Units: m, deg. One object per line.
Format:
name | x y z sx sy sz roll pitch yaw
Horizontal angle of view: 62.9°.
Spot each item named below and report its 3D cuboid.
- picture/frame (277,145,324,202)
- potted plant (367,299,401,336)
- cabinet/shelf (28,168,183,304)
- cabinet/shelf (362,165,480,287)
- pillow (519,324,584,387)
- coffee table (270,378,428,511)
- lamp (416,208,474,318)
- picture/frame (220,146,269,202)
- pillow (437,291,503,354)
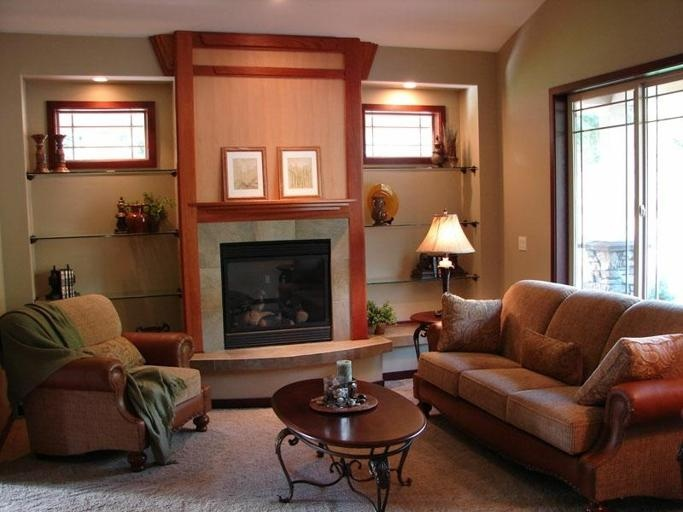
picture/frame | -0.397 -0.811 5.438 0.393 0.473 0.107 -3 9 -9
potted plant | 0.456 0.637 5.945 0.369 0.362 0.315 1 -2 -25
cabinet/shelf | -2.430 -0.220 5.609 1.314 1.278 0.401 -1 3 -13
cabinet/shelf | 0.844 -0.331 6.145 1.291 1.258 0.389 -1 4 -15
pillow | 1.577 0.765 4.235 0.185 0.345 0.587 2 1 -26
coffee table | 0.090 1.164 3.567 0.708 0.469 0.907 -2 6 -15
lamp | 1.050 0.143 5.597 0.578 1.138 0.505 3 7 34
picture/frame | -0.943 -0.787 5.341 0.522 0.640 0.046 -1 -1 -16
pillow | 1.113 0.594 4.791 0.440 0.462 0.164 3 -6 6
